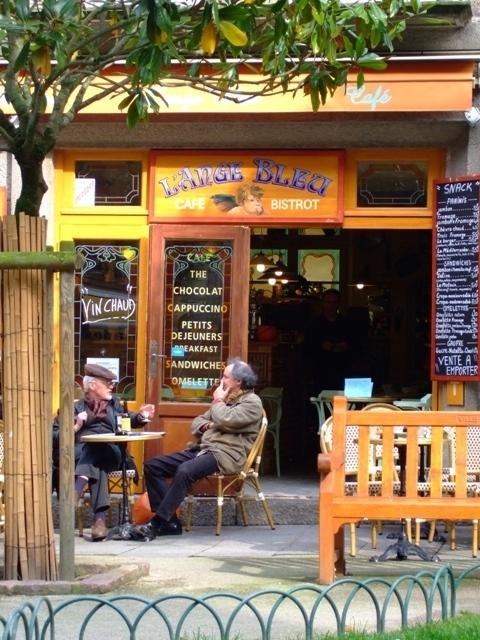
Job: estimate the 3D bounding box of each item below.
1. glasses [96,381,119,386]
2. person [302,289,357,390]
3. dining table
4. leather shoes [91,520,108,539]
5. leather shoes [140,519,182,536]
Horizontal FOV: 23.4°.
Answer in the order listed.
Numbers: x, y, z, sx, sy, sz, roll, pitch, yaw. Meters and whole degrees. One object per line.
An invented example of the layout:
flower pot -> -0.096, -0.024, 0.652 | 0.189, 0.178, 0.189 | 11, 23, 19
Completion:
glasses -> -1.016, 0.482, 8.751 | 0.108, 0.027, 0.101 | -2, -4, 8
person -> 0.932, 0.248, 12.765 | 0.499, 1.150, 0.551 | 0, -4, 4
dining table -> -0.855, 1.157, 8.262 | 0.785, 0.783, 0.719 | 0, -8, 4
leather shoes -> -1.005, 1.494, 8.245 | 0.110, 0.152, 0.197 | 0, -4, -8
leather shoes -> -0.556, 1.512, 8.426 | 0.320, 0.124, 0.104 | 7, -9, -20
